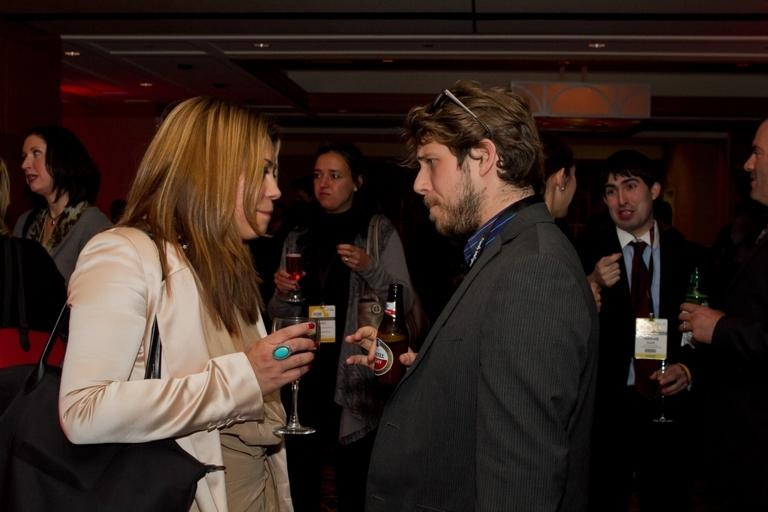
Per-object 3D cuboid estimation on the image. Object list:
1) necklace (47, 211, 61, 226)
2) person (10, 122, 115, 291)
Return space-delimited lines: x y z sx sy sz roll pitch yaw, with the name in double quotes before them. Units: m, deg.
"necklace" -2.200 -0.252 4.053 0.096 0.028 0.114 4 -38 6
"person" -2.154 -0.355 4.140 1.032 0.949 0.500 1 4 34
